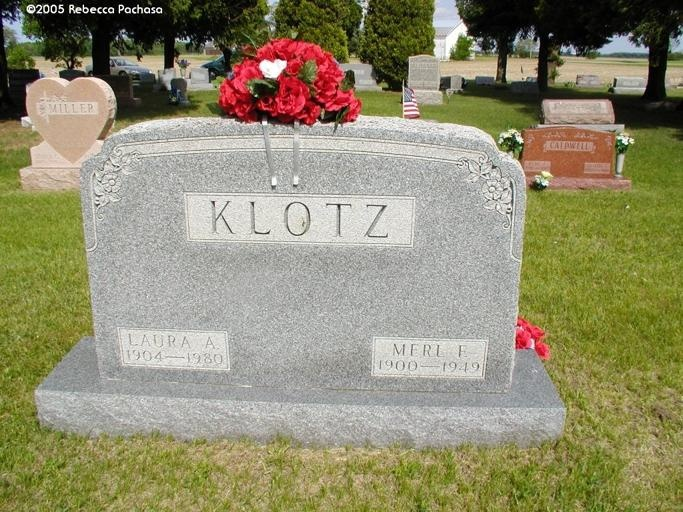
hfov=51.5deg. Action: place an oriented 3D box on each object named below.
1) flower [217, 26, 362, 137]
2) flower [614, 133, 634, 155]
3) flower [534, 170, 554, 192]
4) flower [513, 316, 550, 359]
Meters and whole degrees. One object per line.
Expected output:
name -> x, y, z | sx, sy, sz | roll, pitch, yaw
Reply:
flower -> -0.348, -1.572, 6.232 | 1.143, 0.625, 1.137 | 2, 28, -12
flower -> 5.106, -2.028, 12.841 | 0.256, 0.321, 0.566 | 8, 18, 23
flower -> 3.550, -1.338, 12.601 | 0.290, 0.310, 0.445 | 8, 18, 23
flower -> 1.838, 0.798, 6.865 | 0.374, 0.276, 0.304 | 8, 26, -21
